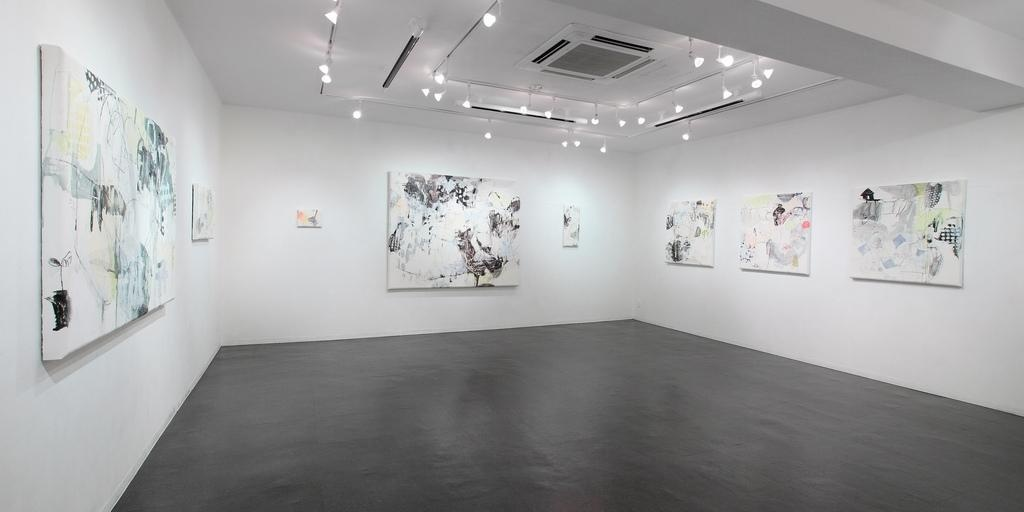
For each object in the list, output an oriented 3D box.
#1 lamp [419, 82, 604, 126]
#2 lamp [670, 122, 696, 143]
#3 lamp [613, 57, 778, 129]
[{"bbox_3d":[-0.041,-3.055,10.779,3.493,0.488,1.009,-2,8,-22],"label":"lamp"},{"bbox_3d":[3.887,-2.816,12.067,0.352,0.813,0.355,3,-36,27],"label":"lamp"},{"bbox_3d":[3.613,-3.062,10.074,0.617,0.853,3.857,-29,17,-28],"label":"lamp"}]
